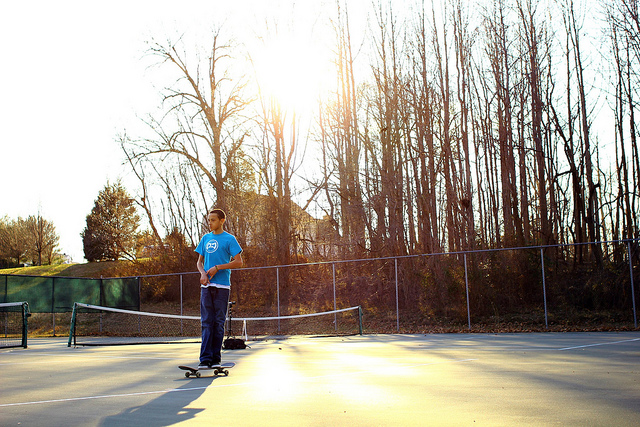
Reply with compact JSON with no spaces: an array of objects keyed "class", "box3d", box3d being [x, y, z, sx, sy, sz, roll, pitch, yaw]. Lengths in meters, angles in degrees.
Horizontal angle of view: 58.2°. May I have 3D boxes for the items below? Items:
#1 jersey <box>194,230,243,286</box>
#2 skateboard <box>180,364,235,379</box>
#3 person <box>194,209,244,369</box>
[{"class":"jersey","box3d":[-1.953,0.864,11.111,0.823,1.110,0.392,-2,-12,-3]},{"class":"skateboard","box3d":[-2.122,2.970,10.802,0.969,0.218,0.352,11,-15,-37]},{"class":"person","box3d":[-2.018,1.406,11.227,0.805,3.159,1.144,1,-12,-13]}]
